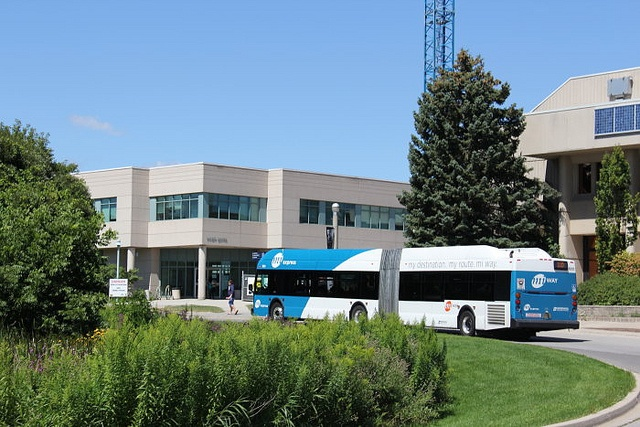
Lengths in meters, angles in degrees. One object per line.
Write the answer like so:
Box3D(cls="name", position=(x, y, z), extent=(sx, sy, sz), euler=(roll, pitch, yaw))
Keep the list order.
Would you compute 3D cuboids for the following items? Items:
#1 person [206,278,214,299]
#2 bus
Box3D(cls="person", position=(-9.745, 6.710, 66.698), extent=(0.689, 1.485, 0.653), euler=(4, 1, -2))
Box3D(cls="bus", position=(3.450, 3.461, 35.125), extent=(17.038, 4.250, 3.088), euler=(6, 1, 43))
